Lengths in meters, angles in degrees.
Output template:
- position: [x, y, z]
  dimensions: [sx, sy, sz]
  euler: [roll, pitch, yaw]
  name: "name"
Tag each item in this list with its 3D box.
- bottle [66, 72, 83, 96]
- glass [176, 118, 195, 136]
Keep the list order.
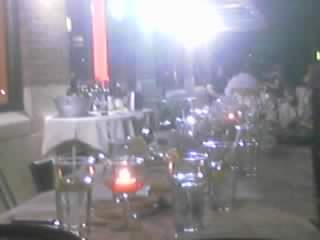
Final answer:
- position: [-0.759, -0.315, 2.777]
  dimensions: [0.144, 0.207, 0.037]
  euler: [-8, 10, -20]
  name: "bottle"
- position: [0.221, 0.064, 2.749]
  dimensions: [0.136, 0.148, 0.140]
  euler: [2, 5, 2]
  name: "glass"
